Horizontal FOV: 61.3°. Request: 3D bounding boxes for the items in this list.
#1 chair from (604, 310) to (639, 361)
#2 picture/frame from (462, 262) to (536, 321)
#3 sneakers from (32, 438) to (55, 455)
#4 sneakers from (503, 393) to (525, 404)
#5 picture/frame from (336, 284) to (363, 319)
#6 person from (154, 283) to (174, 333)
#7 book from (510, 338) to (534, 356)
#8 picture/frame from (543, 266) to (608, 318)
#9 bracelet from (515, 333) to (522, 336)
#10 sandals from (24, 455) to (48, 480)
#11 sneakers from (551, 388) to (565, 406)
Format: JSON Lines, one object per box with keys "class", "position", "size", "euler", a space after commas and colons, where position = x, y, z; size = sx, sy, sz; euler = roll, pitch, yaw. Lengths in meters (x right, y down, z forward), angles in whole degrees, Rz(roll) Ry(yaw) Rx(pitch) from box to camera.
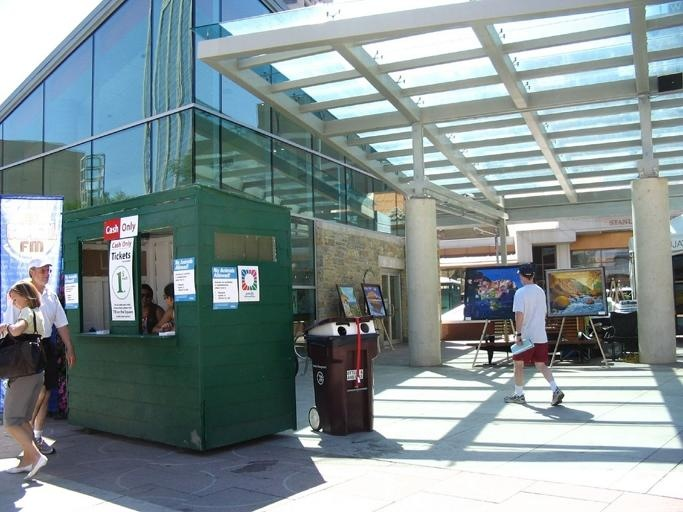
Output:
{"class": "chair", "position": [6.958, 1.954, 14.105], "size": [0.840, 1.085, 0.882], "euler": [-1, -8, 17]}
{"class": "picture/frame", "position": [3.812, 0.942, 14.408], "size": [1.736, 1.380, 0.141], "euler": [1, -3, -21]}
{"class": "sneakers", "position": [-3.896, 2.505, 7.601], "size": [0.369, 0.146, 0.121], "euler": [6, 8, 26]}
{"class": "sneakers", "position": [2.789, 2.299, 9.329], "size": [0.360, 0.157, 0.128], "euler": [3, -3, 21]}
{"class": "picture/frame", "position": [0.184, 1.336, 16.486], "size": [0.112, 1.003, 1.306], "euler": [-9, -7, 40]}
{"class": "person", "position": [-2.694, 0.775, 8.716], "size": [0.270, 0.709, 0.590], "euler": [0, -3, -18]}
{"class": "book", "position": [2.855, 1.456, 9.165], "size": [0.322, 0.227, 0.096], "euler": [-22, -31, 17]}
{"class": "picture/frame", "position": [5.319, 0.859, 13.124], "size": [1.480, 1.237, 0.112], "euler": [-1, -25, 13]}
{"class": "bracelet", "position": [2.827, 1.253, 9.213], "size": [0.059, 0.039, 0.056], "euler": [-1, 2, -8]}
{"class": "sandals", "position": [-3.563, 2.449, 6.677], "size": [0.096, 0.287, 0.106], "euler": [28, -4, 4]}
{"class": "sneakers", "position": [3.335, 2.158, 8.870], "size": [0.146, 0.154, 0.325], "euler": [-15, -25, -8]}
